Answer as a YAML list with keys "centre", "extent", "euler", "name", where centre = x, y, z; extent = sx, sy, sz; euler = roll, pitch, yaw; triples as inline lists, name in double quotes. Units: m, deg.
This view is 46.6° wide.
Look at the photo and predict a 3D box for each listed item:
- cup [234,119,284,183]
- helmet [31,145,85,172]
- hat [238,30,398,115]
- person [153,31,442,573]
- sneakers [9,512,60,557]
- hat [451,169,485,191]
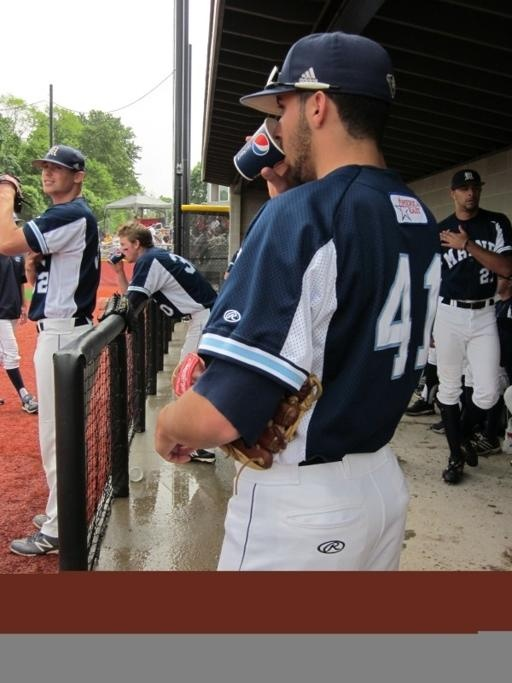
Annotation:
- centre: [-0.030, -0.567, 1.790]
  extent: [0.128, 0.139, 0.131]
  euler: [1, 16, 0]
  name: "cup"
- centre: [-0.931, -0.848, 2.837]
  extent: [0.216, 0.092, 0.150]
  euler: [-4, 23, -42]
  name: "helmet"
- centre: [0.153, -0.514, 1.169]
  extent: [0.301, 0.136, 0.198]
  euler: [16, 11, 42]
  name: "hat"
- centre: [0.078, -0.043, 1.100]
  extent: [0.470, 1.053, 0.497]
  euler: [8, 11, 16]
  name: "person"
- centre: [-1.034, 0.905, 2.755]
  extent: [0.194, 0.165, 0.407]
  euler: [0, 11, -23]
  name: "sneakers"
- centre: [1.334, -1.029, 3.787]
  extent: [0.144, 0.093, 0.179]
  euler: [-2, 11, 4]
  name: "hat"
